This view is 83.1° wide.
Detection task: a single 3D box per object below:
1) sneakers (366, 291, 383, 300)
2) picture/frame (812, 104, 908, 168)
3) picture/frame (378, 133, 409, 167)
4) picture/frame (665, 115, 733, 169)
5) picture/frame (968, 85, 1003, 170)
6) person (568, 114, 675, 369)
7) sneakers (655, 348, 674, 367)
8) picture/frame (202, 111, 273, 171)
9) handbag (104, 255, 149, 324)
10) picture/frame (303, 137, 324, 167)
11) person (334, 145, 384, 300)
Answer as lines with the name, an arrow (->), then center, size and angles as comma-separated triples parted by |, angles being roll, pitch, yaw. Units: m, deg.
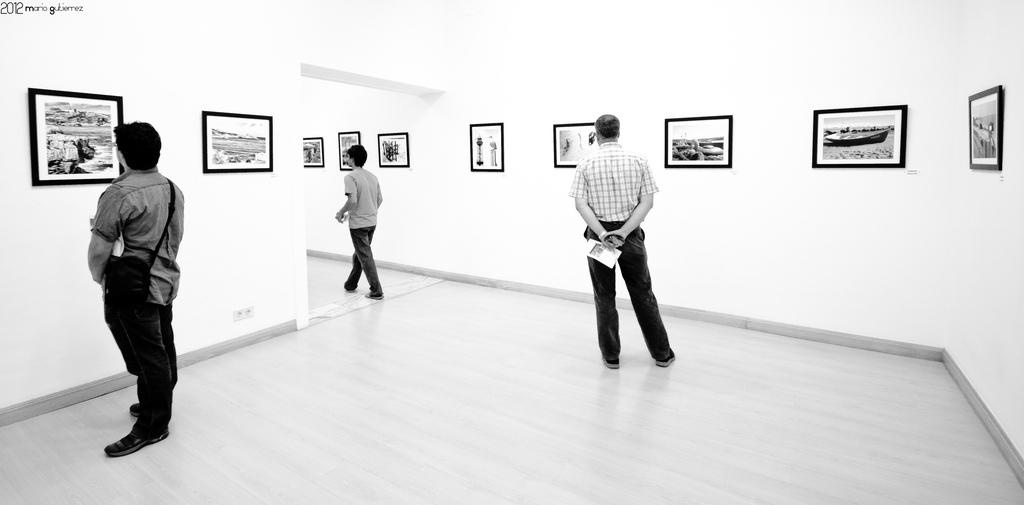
sneakers -> -2.373, 0.737, 9.907 | 0.277, 0.099, 0.133 | -1, 5, 12
picture/frame -> 4.743, -1.574, 7.922 | 1.412, 0.875, 0.047 | -3, 10, -5
picture/frame -> -2.310, -2.001, 11.246 | 0.763, 0.651, 0.024 | 5, 12, 30
picture/frame -> 2.798, -1.647, 8.747 | 0.062, 0.770, 1.150 | -14, 17, -36
picture/frame -> 5.583, -1.459, 6.788 | 0.210, 0.961, 0.766 | 6, 14, 23
person -> 1.396, -0.117, 7.518 | 1.324, 3.258, 0.618 | 1, 13, 5
sneakers -> 2.017, 1.412, 7.642 | 0.151, 0.149, 0.356 | 0, -3, 25
picture/frame -> -3.858, -1.555, 7.994 | 0.961, 0.794, 0.042 | -7, 10, -39
handbag -> -4.273, 0.379, 6.384 | 0.490, 0.693, 0.140 | -1, 13, -5
picture/frame -> -4.279, -2.163, 12.393 | 0.709, 0.643, 0.167 | 10, 16, 37
person -> -2.658, -0.560, 10.036 | 0.729, 2.571, 1.093 | -3, 13, -12
